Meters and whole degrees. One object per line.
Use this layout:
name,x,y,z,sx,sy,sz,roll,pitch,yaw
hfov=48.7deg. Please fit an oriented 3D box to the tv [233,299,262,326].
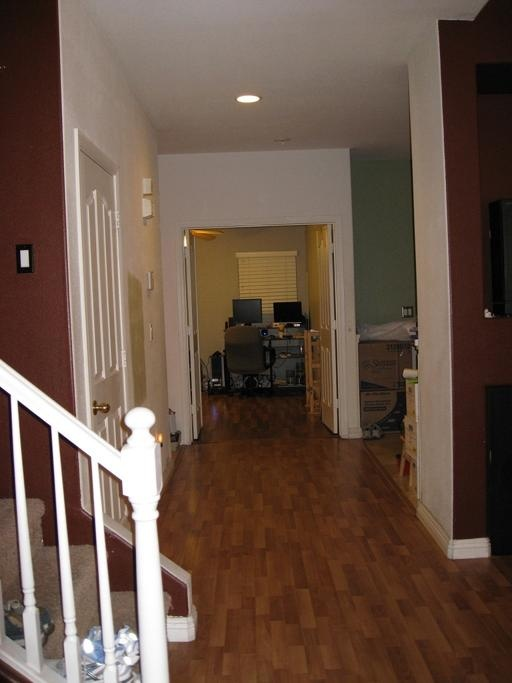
tv,-0.075,-0.474,8.501,0.565,0.538,0.312,0,5,0

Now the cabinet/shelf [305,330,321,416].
cabinet/shelf,0.667,0.366,6.587,0.166,0.981,0.621,-2,3,4

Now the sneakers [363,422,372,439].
sneakers,1.087,0.885,5.531,0.089,0.125,0.041,-2,3,15

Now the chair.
chair,-0.061,0.251,7.915,0.853,1.324,0.844,0,7,8

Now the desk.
desk,0.169,0.207,8.234,1.173,1.083,0.759,-3,16,1

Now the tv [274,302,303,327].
tv,0.499,-0.403,8.368,0.333,0.275,0.047,0,0,0
